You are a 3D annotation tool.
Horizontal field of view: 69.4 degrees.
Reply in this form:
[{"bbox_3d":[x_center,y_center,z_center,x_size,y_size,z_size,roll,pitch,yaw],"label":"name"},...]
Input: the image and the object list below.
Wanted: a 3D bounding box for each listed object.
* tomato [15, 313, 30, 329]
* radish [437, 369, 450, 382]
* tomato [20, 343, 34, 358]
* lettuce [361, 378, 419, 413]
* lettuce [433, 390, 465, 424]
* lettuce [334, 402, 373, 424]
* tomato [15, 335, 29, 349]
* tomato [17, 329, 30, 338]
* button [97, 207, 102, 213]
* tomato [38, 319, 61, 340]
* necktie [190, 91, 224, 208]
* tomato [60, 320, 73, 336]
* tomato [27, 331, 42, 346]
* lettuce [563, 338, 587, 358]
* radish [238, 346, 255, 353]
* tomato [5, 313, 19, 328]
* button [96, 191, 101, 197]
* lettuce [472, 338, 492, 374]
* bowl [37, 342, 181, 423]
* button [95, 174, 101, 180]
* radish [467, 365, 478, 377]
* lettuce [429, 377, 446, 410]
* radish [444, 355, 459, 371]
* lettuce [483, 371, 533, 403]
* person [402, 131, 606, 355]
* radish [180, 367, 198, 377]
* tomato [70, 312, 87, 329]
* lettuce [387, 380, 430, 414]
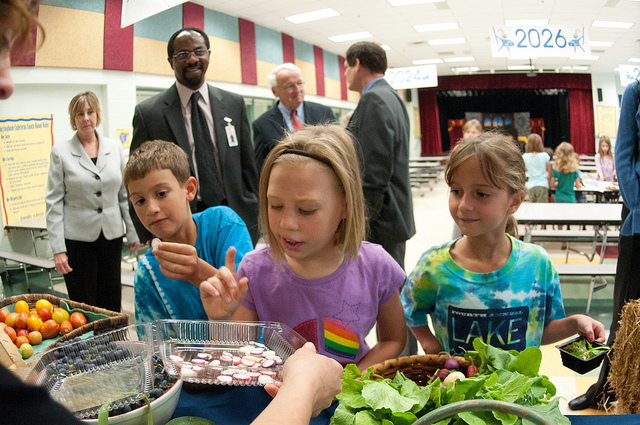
[{"bbox_3d":[-1.582,0.576,2.452,0.065,0.069,0.068,0,-17,1],"label":"tomato"},{"bbox_3d":[0.467,0.608,1.742,0.035,0.027,0.047,-25,-3,24],"label":"radish"},{"bbox_3d":[-1.476,0.691,2.322,0.053,0.063,0.063,-2,3,-33],"label":"tomato"},{"bbox_3d":[0.230,0.606,1.526,0.144,0.075,0.146,-1,2,-40],"label":"lettuce"},{"bbox_3d":[0.414,0.637,1.482,0.084,0.092,0.155,1,2,24],"label":"lettuce"},{"bbox_3d":[0.110,0.666,1.534,0.119,0.062,0.038,0,3,9],"label":"lettuce"},{"bbox_3d":[-1.518,0.657,2.355,0.045,0.044,0.041,35,13,-50],"label":"tomato"},{"bbox_3d":[-1.555,0.628,2.422,0.039,0.040,0.038,5,39,-13],"label":"tomato"},{"bbox_3d":[-1.864,-0.022,3.915,0.030,0.042,0.019,-1,3,-20],"label":"button"},{"bbox_3d":[-1.431,0.622,2.454,0.115,0.096,0.042,0,3,0],"label":"tomato"},{"bbox_3d":[-0.785,-0.394,3.227,0.213,0.108,1.055,3,-39,-3],"label":"necktie"},{"bbox_3d":[-1.343,0.609,2.450,0.083,0.067,0.045,1,3,35],"label":"tomato"},{"bbox_3d":[-1.489,0.656,2.413,0.065,0.065,0.063,32,-34,-33],"label":"tomato"},{"bbox_3d":[1.385,0.722,2.474,0.079,0.026,0.083,22,54,42],"label":"lettuce"},{"bbox_3d":[-0.279,0.517,1.751,0.060,0.019,0.026,0,2,14],"label":"radish"},{"bbox_3d":[-1.656,0.575,2.475,0.072,0.073,0.087,-2,-42,-32],"label":"tomato"},{"bbox_3d":[-1.893,-0.164,3.941,0.035,0.042,0.015,1,-10,-13],"label":"button"},{"bbox_3d":[0.609,0.534,1.748,0.040,0.039,0.134,17,34,-13],"label":"lettuce"},{"bbox_3d":[-0.711,0.612,1.619,0.445,0.265,0.339,1,2,33],"label":"bowl"},{"bbox_3d":[-1.899,-0.303,3.938,0.034,0.042,0.015,-1,3,-29],"label":"button"},{"bbox_3d":[0.575,0.588,1.714,0.028,0.040,0.024,0,-27,10],"label":"radish"},{"bbox_3d":[0.393,0.603,1.547,0.033,0.084,0.078,1,-14,-24],"label":"lettuce"},{"bbox_3d":[0.509,0.578,1.762,0.032,0.033,0.044,-20,-15,0],"label":"radish"},{"bbox_3d":[0.636,0.591,1.554,0.184,0.065,0.075,-1,2,-30],"label":"lettuce"},{"bbox_3d":[0.836,0.145,2.220,0.858,1.067,0.319,1,3,15],"label":"person"},{"bbox_3d":[-0.488,0.581,1.676,0.033,0.013,0.036,8,11,-12],"label":"radish"},{"bbox_3d":[-1.306,0.580,2.490,0.094,0.074,0.065,0,2,2],"label":"tomato"},{"bbox_3d":[0.311,0.618,1.568,0.095,0.037,0.089,32,24,-7],"label":"lettuce"}]
